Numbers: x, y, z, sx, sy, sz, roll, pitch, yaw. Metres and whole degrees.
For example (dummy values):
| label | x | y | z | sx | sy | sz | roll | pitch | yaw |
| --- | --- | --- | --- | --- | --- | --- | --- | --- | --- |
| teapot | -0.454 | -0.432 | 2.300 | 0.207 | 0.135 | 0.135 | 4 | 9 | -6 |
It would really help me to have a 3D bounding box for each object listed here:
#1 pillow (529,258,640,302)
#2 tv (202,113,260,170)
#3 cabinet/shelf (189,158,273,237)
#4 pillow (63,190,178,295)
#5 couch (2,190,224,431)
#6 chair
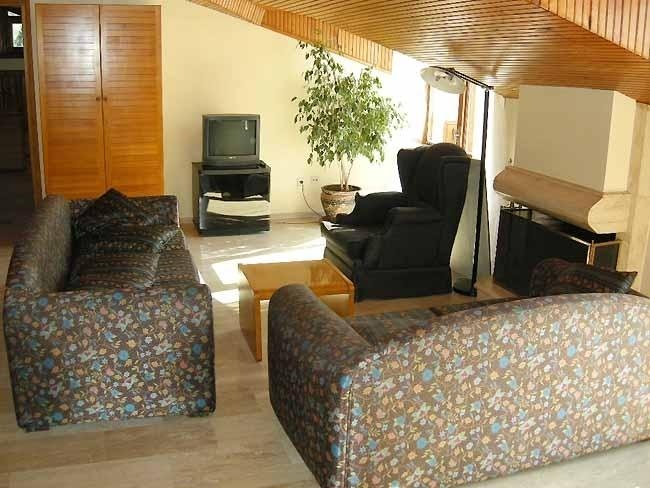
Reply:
| label | x | y | z | sx | sy | sz | roll | pitch | yaw |
| --- | --- | --- | --- | --- | --- | --- | --- | --- | --- |
| pillow | 1.364 | 0.179 | 2.701 | 0.314 | 0.111 | 0.368 | 3 | 17 | -1 |
| tv | -1.133 | -1.167 | 6.224 | 0.948 | 0.824 | 0.559 | -2 | 7 | -21 |
| cabinet/shelf | -1.165 | -0.497 | 6.356 | 1.141 | 1.080 | 0.803 | -3 | 10 | -23 |
| pillow | -1.507 | 0.001 | 3.657 | 0.362 | 0.298 | 0.765 | -1 | 41 | -10 |
| couch | -1.299 | 0.316 | 3.180 | 1.011 | 0.947 | 1.624 | -7 | 19 | -17 |
| chair | 0.682 | -0.341 | 5.030 | 1.427 | 1.647 | 1.306 | -5 | 14 | -14 |
